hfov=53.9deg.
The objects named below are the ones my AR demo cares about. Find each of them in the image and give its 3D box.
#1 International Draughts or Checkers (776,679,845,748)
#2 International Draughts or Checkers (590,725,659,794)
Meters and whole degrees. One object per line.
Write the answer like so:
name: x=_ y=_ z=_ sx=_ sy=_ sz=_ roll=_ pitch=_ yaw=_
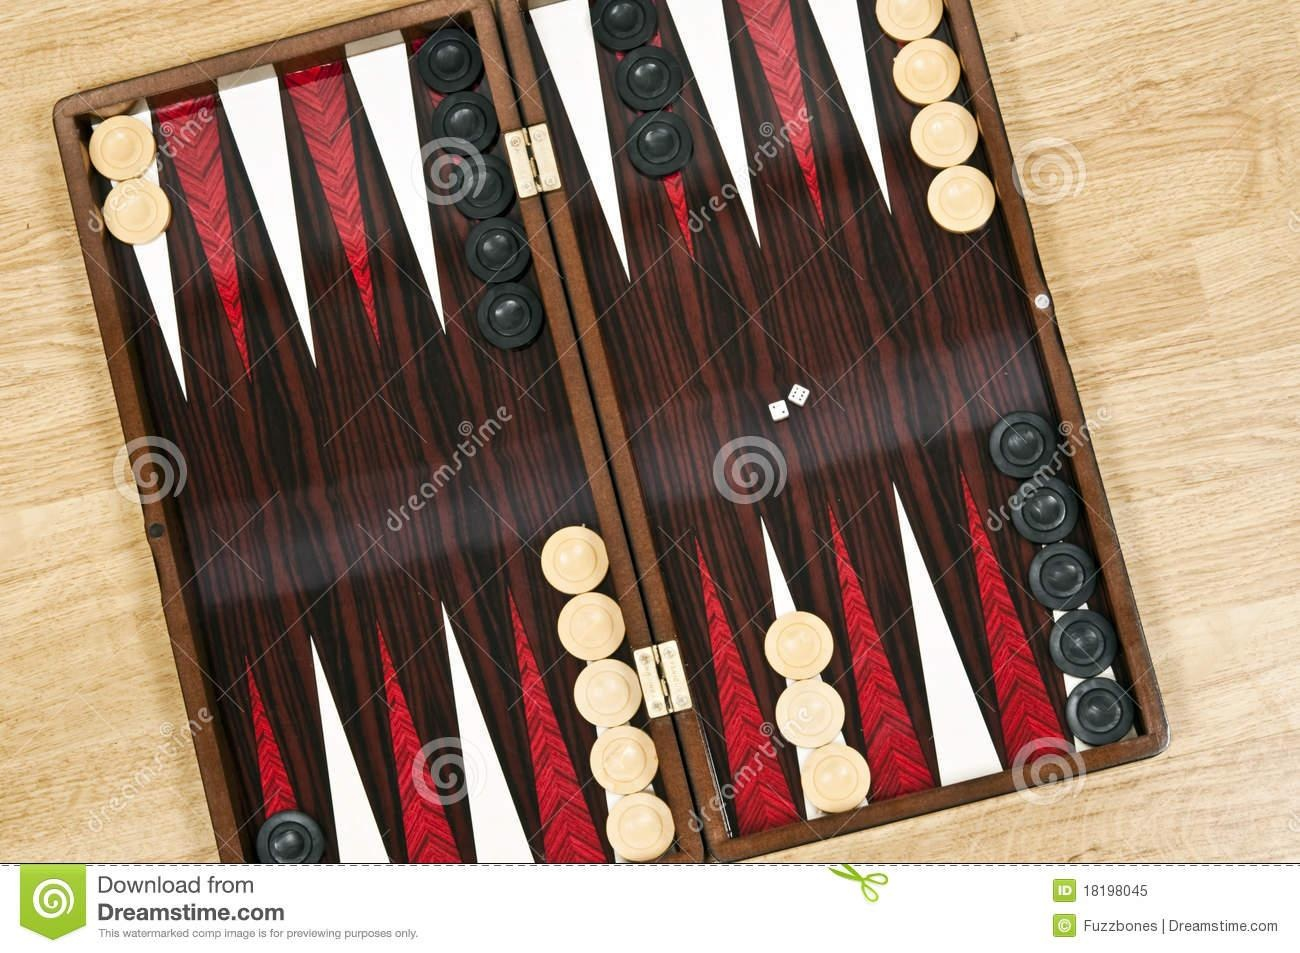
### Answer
International Draughts or Checkers: x=0.471 y=0.705 z=3.814 sx=0.194 sy=0.198 sz=0.037 roll=-10 pitch=-12 yaw=-6
International Draughts or Checkers: x=-0.071 y=0.839 z=3.793 sx=0.209 sy=0.194 sz=0.027 roll=1 pitch=-7 yaw=4
